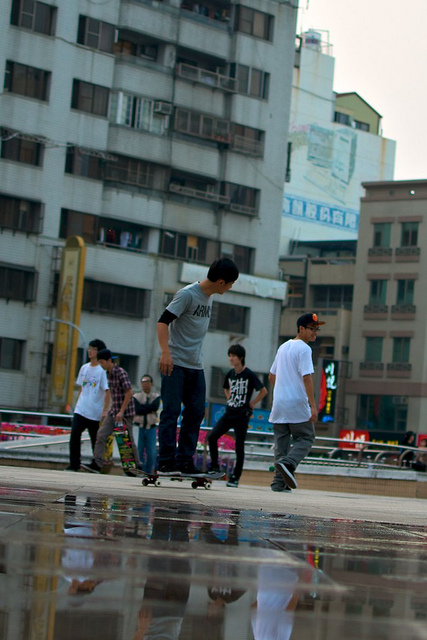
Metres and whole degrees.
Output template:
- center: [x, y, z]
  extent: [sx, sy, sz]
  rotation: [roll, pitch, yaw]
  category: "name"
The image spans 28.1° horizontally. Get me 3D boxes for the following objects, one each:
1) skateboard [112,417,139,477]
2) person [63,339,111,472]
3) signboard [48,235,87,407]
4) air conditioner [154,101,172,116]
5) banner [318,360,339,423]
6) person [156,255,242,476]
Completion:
- center: [-1.148, 1.682, 11.122]
  extent: [0.194, 0.866, 0.117]
  rotation: [-9, 15, 8]
  category: "skateboard"
- center: [-1.527, 1.057, 10.628]
  extent: [0.457, 1.644, 0.762]
  rotation: [8, -5, -7]
  category: "person"
- center: [-6.059, -0.017, 35.355]
  extent: [1.600, 7.113, 0.707]
  rotation: [2, -7, 45]
  category: "signboard"
- center: [-2.461, -10.138, 40.870]
  extent: [1.058, 0.621, 0.587]
  rotation: [2, 2, -37]
  category: "air conditioner"
- center: [6.455, 3.956, 47.645]
  extent: [0.827, 3.507, 1.827]
  rotation: [5, -5, 20]
  category: "banner"
- center: [-0.187, 0.349, 7.055]
  extent: [0.590, 1.879, 0.942]
  rotation: [7, -5, 1]
  category: "person"
